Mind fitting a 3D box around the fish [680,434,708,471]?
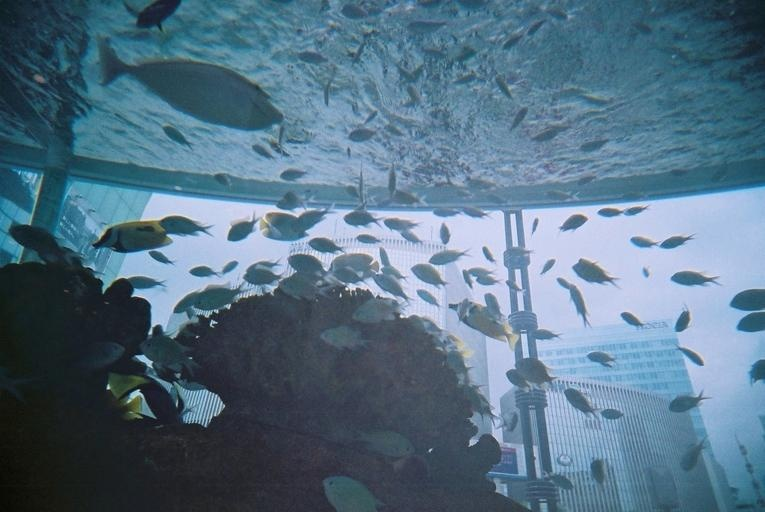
[{"bbox_3d":[7.791,4.958,11.886,0.591,0.910,2.303,-6,-16,32],"label":"fish"}]
